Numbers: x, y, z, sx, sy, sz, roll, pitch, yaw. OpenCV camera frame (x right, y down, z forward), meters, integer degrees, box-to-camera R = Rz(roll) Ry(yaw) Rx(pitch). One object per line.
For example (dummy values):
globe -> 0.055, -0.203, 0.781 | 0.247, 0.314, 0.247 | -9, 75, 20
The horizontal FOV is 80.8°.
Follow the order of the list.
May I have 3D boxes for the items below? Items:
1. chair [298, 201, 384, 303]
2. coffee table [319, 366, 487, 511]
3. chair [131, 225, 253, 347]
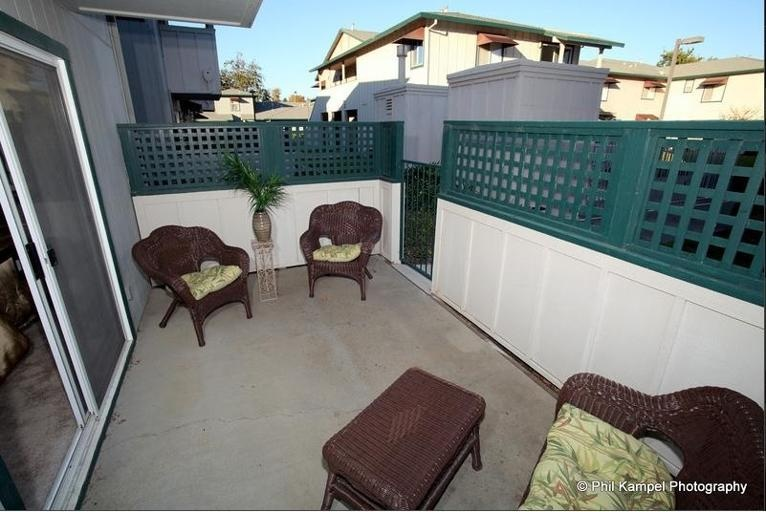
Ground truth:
chair -> -0.514, -0.100, 5.719 | 0.987, 1.004, 0.978 | -1, 19, -1
coffee table -> 0.158, 1.388, 3.230 | 0.808, 0.645, 1.090 | 12, 23, 33
chair -> -2.078, 0.241, 4.991 | 1.072, 1.095, 1.096 | -10, 23, -22
